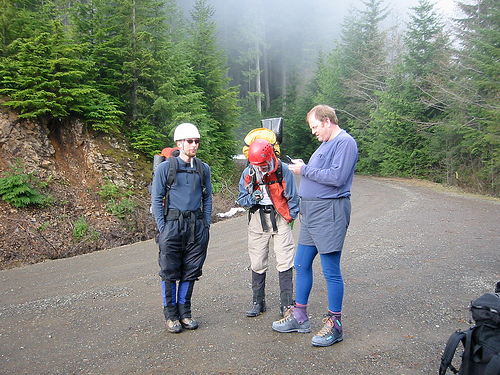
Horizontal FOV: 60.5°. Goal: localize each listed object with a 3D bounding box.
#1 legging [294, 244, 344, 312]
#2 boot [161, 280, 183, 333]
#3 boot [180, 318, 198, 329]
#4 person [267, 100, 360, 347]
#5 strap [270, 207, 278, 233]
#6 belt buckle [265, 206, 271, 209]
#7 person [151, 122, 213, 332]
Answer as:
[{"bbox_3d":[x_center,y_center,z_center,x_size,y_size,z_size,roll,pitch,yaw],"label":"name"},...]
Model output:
[{"bbox_3d":[1.259,1.467,7.959,0.923,1.945,0.584,5,11,26],"label":"legging"},{"bbox_3d":[-1.509,2.284,8.352,0.663,0.849,0.584,2,6,-13],"label":"boot"},{"bbox_3d":[-1.168,2.633,8.312,0.322,0.177,0.163,-5,12,-7],"label":"boot"},{"bbox_3d":[1.261,0.685,7.820,1.042,4.274,1.187,4,15,34],"label":"person"},{"bbox_3d":[0.476,0.659,8.419,0.110,0.473,0.130,-8,13,-18],"label":"strap"},{"bbox_3d":[0.371,0.391,8.447,0.069,0.059,0.064,1,-3,14],"label":"belt buckle"},{"bbox_3d":[-1.298,0.744,8.283,1.050,3.840,0.919,-7,12,-13],"label":"person"}]
